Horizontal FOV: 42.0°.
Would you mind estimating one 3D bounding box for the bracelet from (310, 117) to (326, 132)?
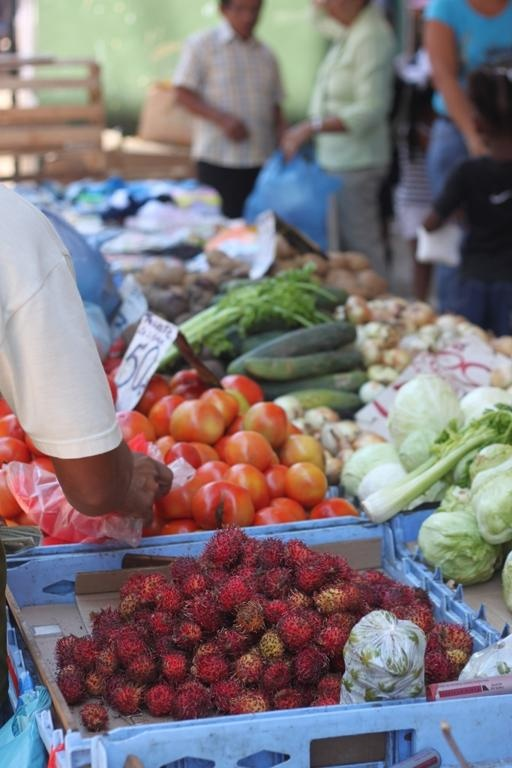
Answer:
[{"bbox_3d":[0.324,-1.345,3.459,0.063,0.058,0.015,-6,14,-13],"label":"bracelet"}]

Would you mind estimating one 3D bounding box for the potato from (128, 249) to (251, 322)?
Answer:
[{"bbox_3d":[-0.382,-0.573,3.589,0.617,0.328,0.431,-13,21,-26],"label":"potato"}]

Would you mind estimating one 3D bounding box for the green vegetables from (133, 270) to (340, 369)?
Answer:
[{"bbox_3d":[-0.117,-0.337,3.656,1.018,0.399,0.372,-21,50,-2],"label":"green vegetables"}]

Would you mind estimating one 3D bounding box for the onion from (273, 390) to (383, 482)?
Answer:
[{"bbox_3d":[0.366,0.219,3.563,0.485,0.411,0.596,-17,23,-40],"label":"onion"}]

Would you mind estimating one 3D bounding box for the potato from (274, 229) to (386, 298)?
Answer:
[{"bbox_3d":[0.401,-0.652,3.644,0.542,0.161,0.282,14,24,9],"label":"potato"}]
